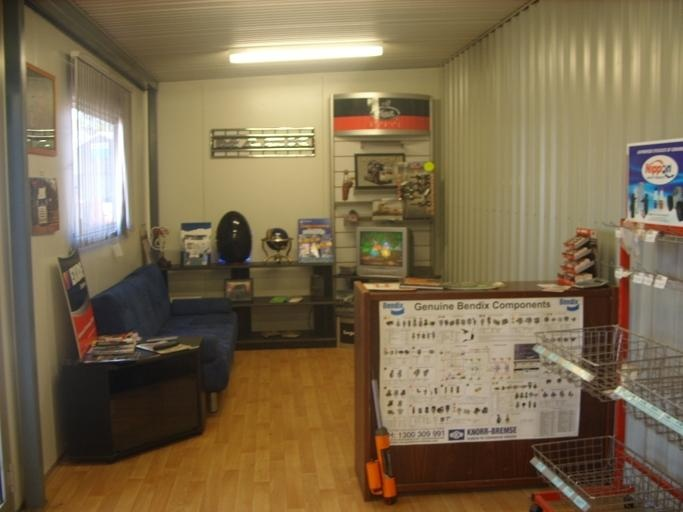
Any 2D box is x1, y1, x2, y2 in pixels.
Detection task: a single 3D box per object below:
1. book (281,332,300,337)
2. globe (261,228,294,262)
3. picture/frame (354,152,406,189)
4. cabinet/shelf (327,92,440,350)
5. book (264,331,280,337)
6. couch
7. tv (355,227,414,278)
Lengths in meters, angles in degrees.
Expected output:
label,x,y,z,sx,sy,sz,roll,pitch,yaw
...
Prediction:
label,x,y,z,sx,sy,sz,roll,pitch,yaw
book,-0.649,0.980,7.136,0.218,0.021,0.204,-1,10,-4
globe,-0.808,-0.156,7.145,0.431,0.463,0.444,2,3,-2
picture/frame,0.438,-1.051,7.024,0.514,0.339,0.022,1,0,-7
cabinet/shelf,0.466,-0.421,6.831,1.328,2.780,0.905,0,-7,5
book,-0.892,0.974,7.151,0.202,0.030,0.116,-1,10,-2
couch,-1.698,0.579,5.605,1.226,1.262,2.022,0,8,-3
tv,0.503,-0.035,6.697,0.611,0.572,0.615,0,0,10
